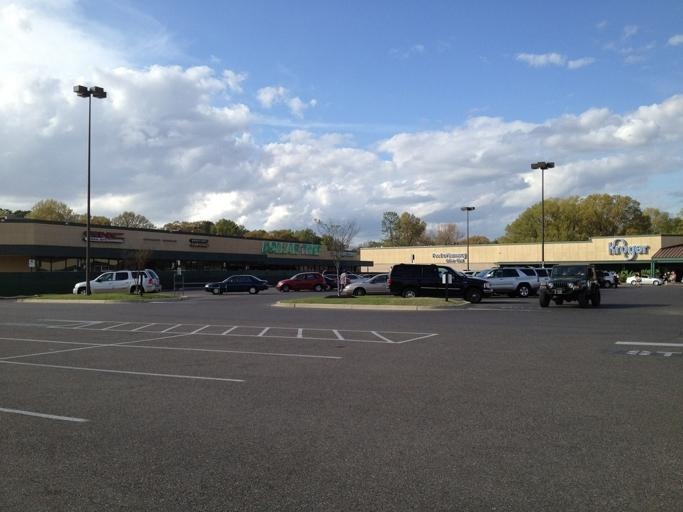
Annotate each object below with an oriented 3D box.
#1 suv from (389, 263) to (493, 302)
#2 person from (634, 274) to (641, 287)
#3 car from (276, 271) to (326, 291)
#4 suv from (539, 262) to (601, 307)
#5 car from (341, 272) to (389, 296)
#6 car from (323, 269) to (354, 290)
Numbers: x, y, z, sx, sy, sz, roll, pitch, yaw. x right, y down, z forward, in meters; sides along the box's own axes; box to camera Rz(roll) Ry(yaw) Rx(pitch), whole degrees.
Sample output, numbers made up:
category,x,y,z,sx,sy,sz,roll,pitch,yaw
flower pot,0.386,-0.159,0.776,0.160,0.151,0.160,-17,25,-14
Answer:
category,x,y,z,sx,sy,sz,roll,pitch,yaw
suv,4.899,1.402,29.350,4.486,2.050,2.625,-2,-1,39
person,32.931,2.751,62.229,0.609,0.931,0.893,13,4,8
car,-2.933,2.061,43.695,2.900,1.387,1.720,2,-4,3
suv,10.848,1.403,26.251,1.659,1.679,3.039,-4,-8,34
car,1.489,1.689,33.276,2.552,1.082,1.254,1,-5,2
car,0.028,2.123,45.028,3.505,1.439,1.622,-3,4,-35
